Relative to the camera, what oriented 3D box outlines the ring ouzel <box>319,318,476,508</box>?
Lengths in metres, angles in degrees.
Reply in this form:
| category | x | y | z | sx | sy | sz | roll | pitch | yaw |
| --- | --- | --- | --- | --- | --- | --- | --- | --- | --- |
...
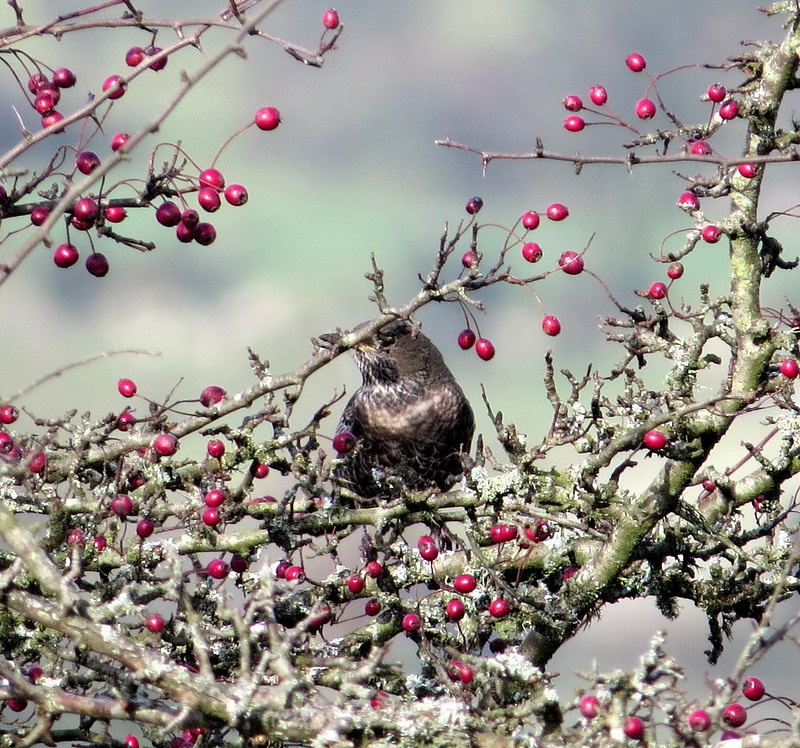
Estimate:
| category | x | y | z | sx | sy | sz | roll | pitch | yaw |
| --- | --- | --- | --- | --- | --- | --- | --- | --- | --- |
| ring ouzel | -0.016 | 0.112 | 7.396 | 0.596 | 0.658 | 0.958 | -11 | -67 | -38 |
